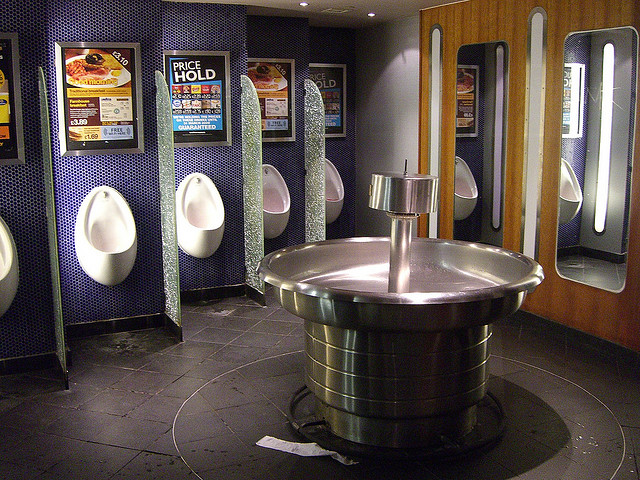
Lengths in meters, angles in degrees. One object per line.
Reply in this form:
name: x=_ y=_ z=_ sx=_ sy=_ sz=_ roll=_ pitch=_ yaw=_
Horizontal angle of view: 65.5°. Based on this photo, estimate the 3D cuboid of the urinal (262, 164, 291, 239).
urinal: x=-0.500 y=-0.425 z=5.616 sx=0.301 sy=0.815 sz=0.457 roll=-2 pitch=12 yaw=-5

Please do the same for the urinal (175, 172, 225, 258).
urinal: x=-1.215 y=-0.237 z=5.094 sx=0.509 sy=0.820 sz=0.489 roll=-6 pitch=1 yaw=-24

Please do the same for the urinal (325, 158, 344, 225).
urinal: x=0.186 y=-0.628 z=6.554 sx=0.217 sy=0.800 sz=0.527 roll=0 pitch=12 yaw=3

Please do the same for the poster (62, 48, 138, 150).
poster: x=-1.861 y=-1.190 z=4.185 sx=0.706 sy=0.977 sz=0.074 roll=-1 pitch=-1 yaw=-6

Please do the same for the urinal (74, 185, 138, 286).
urinal: x=-1.801 y=-0.059 z=4.166 sx=0.503 sy=0.857 sz=0.378 roll=-4 pitch=-1 yaw=-27
